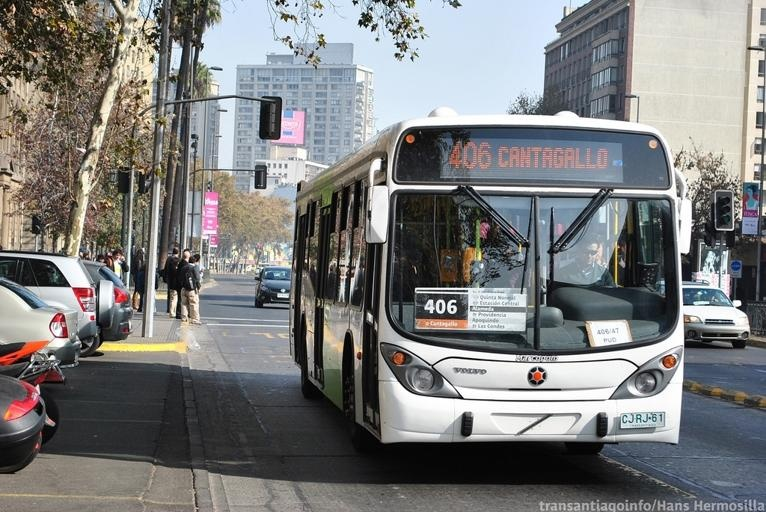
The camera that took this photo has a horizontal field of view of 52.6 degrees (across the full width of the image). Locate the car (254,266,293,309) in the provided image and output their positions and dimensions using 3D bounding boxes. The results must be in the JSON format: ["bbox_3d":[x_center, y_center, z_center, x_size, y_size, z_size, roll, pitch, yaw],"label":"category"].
[{"bbox_3d":[-5.552,1.567,38.584,1.622,2.037,2.638,2,-1,-12],"label":"car"}]

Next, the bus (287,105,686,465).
[{"bbox_3d":[0.482,0.436,12.839,3.422,3.835,10.769,2,0,-11],"label":"bus"}]

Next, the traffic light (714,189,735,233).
[{"bbox_3d":[12.427,-1.705,28.367,0.633,1.438,1.479,1,-1,18],"label":"traffic light"}]
